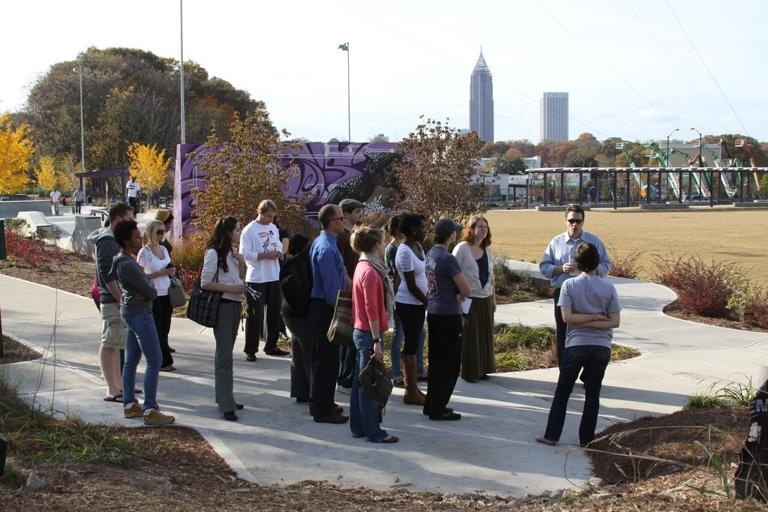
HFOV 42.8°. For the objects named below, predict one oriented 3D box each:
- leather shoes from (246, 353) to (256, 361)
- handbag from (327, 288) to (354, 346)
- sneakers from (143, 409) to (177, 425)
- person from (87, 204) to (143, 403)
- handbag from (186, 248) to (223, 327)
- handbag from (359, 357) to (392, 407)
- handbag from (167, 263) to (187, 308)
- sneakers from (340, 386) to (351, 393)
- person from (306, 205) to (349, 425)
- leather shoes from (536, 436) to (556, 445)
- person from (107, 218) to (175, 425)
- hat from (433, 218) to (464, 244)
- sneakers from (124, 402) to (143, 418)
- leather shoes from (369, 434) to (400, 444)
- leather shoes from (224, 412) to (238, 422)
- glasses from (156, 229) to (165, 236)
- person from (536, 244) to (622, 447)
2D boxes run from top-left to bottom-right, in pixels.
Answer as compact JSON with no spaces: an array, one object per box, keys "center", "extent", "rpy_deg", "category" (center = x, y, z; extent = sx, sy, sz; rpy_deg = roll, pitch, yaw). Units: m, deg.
[{"center":[-2.272,1.737,16.785],"extent":[0.113,0.102,0.124],"rpy_deg":[-1,2,-17],"category":"leather shoes"},{"center":[-0.646,0.906,14.135],"extent":[0.365,0.779,0.367],"rpy_deg":[0,13,-5],"category":"handbag"},{"center":[-3.279,2.359,14.307],"extent":[0.451,0.307,0.196],"rpy_deg":[2,2,-12],"category":"sneakers"},{"center":[-4.098,0.690,15.100],"extent":[0.833,3.107,0.851],"rpy_deg":[1,8,-16],"category":"person"},{"center":[-2.705,0.682,14.565],"extent":[0.565,0.705,0.288],"rpy_deg":[11,16,35],"category":"handbag"},{"center":[-0.137,1.815,13.838],"extent":[0.445,0.764,0.305],"rpy_deg":[1,13,-2],"category":"handbag"},{"center":[-3.626,0.541,17.077],"extent":[0.287,0.923,0.783],"rpy_deg":[-2,-4,-11],"category":"handbag"},{"center":[-0.646,2.156,15.647],"extent":[0.207,0.102,0.079],"rpy_deg":[-3,2,33],"category":"sneakers"},{"center":[-0.854,0.873,14.425],"extent":[0.518,3.150,0.681],"rpy_deg":[0,12,-4],"category":"person"},{"center":[2.312,2.651,14.034],"extent":[0.205,0.100,0.106],"rpy_deg":[3,3,25],"category":"leather shoes"},{"center":[-3.542,0.954,14.319],"extent":[0.660,2.860,1.236],"rpy_deg":[-5,14,-26],"category":"person"},{"center":[0.975,-0.438,15.039],"extent":[0.305,0.515,0.278],"rpy_deg":[6,-36,33],"category":"hat"},{"center":[-3.685,2.296,14.434],"extent":[0.291,0.200,0.149],"rpy_deg":[-4,5,-20],"category":"sneakers"},{"center":[-0.004,2.640,13.940],"extent":[0.304,0.079,0.162],"rpy_deg":[-2,-3,6],"category":"leather shoes"},{"center":[-2.267,2.391,14.425],"extent":[0.260,0.204,0.091],"rpy_deg":[-7,-8,41],"category":"leather shoes"},{"center":[-3.569,-0.385,15.605],"extent":[0.108,0.080,0.088],"rpy_deg":[12,-4,-29],"category":"glasses"},{"center":[2.814,1.269,13.959],"extent":[0.949,2.851,0.782],"rpy_deg":[4,13,13],"category":"person"}]
